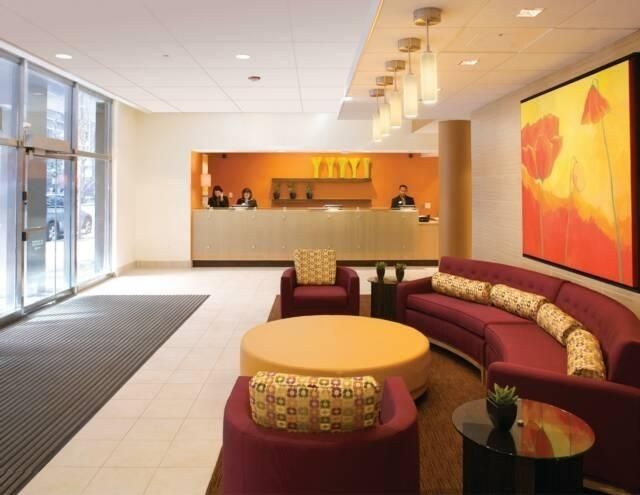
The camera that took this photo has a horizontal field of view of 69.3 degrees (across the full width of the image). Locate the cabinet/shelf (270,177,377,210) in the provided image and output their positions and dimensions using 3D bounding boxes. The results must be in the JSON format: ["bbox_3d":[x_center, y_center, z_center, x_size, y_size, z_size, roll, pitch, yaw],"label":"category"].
[{"bbox_3d":[0.083,-1.556,13.259,2.940,0.857,0.502,1,7,5],"label":"cabinet/shelf"}]

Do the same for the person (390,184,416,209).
[{"bbox_3d":[2.220,-1.390,12.539,0.775,0.721,0.445,0,-5,-1],"label":"person"}]

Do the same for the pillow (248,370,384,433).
[{"bbox_3d":[-0.026,0.797,2.390,0.707,0.288,0.281,0,-2,5],"label":"pillow"}]

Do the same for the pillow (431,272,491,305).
[{"bbox_3d":[1.771,0.497,5.698,0.237,0.295,0.802,15,2,-31],"label":"pillow"}]

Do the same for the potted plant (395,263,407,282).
[{"bbox_3d":[1.068,0.351,6.424,0.187,0.264,0.203,0,-4,2],"label":"potted plant"}]

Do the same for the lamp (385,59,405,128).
[{"bbox_3d":[0.820,-1.639,5.013,0.223,0.677,0.225,-3,7,-14],"label":"lamp"}]

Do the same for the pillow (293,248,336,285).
[{"bbox_3d":[-0.078,0.279,6.892,0.511,0.526,0.160,2,-18,-6],"label":"pillow"}]

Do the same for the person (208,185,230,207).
[{"bbox_3d":[-2.681,-1.353,12.232,0.666,0.759,0.418,-1,1,-7],"label":"person"}]

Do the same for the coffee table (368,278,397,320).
[{"bbox_3d":[0.874,0.700,6.280,0.451,0.483,0.464,0,0,-2],"label":"coffee table"}]

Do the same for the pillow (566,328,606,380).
[{"bbox_3d":[1.961,0.782,3.407,0.198,0.161,0.620,-4,8,21],"label":"pillow"}]
